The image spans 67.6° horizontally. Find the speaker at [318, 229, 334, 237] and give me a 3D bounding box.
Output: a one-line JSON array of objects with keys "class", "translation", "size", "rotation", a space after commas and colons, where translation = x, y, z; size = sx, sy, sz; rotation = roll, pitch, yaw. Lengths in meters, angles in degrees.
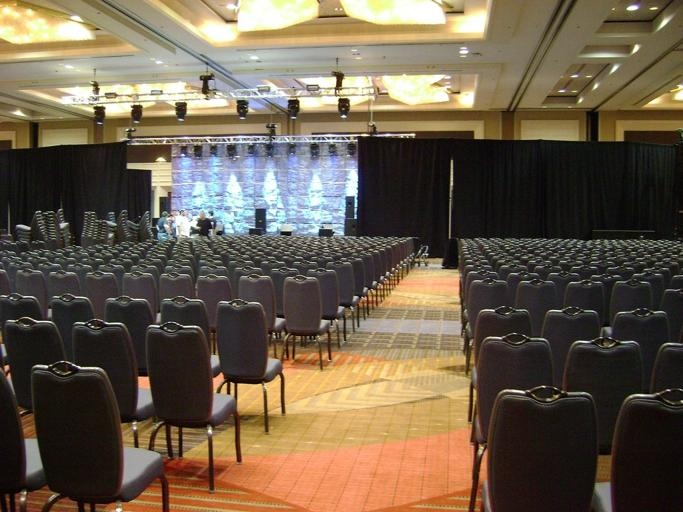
[{"class": "speaker", "translation": [-0.630, -0.991, 21.288], "size": [0.447, 0.282, 0.459], "rotation": [0, 2, 5]}]

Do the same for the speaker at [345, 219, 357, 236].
[{"class": "speaker", "translation": [0.399, -1.263, 22.145], "size": [0.610, 0.887, 0.617], "rotation": [0, 5, 1]}]
